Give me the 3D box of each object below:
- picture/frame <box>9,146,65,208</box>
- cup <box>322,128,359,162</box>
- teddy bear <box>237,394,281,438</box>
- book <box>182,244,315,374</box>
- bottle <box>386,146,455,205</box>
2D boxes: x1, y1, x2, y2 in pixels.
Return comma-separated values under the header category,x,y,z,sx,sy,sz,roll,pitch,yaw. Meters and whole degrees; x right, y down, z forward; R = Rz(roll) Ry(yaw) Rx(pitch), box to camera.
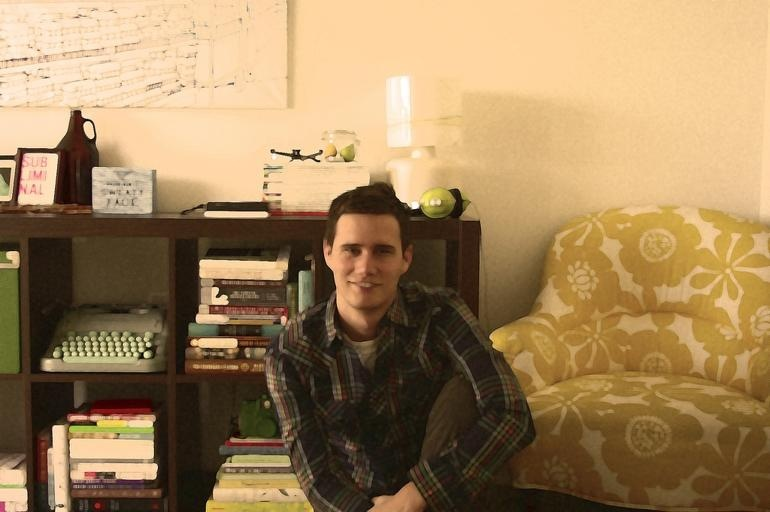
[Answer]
category,x,y,z,sx,sy,sz,roll,pitch,yaw
picture/frame,-1.541,-0.341,3.227,0.283,0.363,0.044,-1,-9,-4
cup,-0.202,-0.490,3.231,0.162,0.129,0.156,0,5,0
teddy bear,-0.513,0.692,3.160,0.201,0.176,0.114,-6,-8,18
book,-0.565,0.226,3.219,0.563,0.469,0.499,0,34,-2
bottle,0.202,-0.360,3.418,0.296,0.419,0.325,-1,5,0
